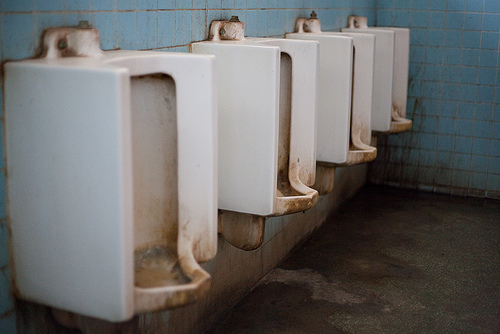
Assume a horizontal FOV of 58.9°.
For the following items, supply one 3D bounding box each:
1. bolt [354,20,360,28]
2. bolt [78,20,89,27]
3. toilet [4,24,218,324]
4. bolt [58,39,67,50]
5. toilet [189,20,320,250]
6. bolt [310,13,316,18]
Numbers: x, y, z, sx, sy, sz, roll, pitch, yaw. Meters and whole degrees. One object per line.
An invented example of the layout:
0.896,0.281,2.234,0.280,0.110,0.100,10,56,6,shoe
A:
0.911,-1.228,3.795,0.041,0.060,0.014,-6,1,-16,bolt
-0.593,-0.513,1.577,0.025,0.019,0.025,0,8,8,bolt
-0.421,-0.031,2.071,0.932,1.472,0.934,3,7,19,toilet
-0.644,-0.420,1.516,0.029,0.031,0.009,-3,1,-31,bolt
0.066,-0.162,2.255,0.558,1.114,0.670,4,9,17,toilet
0.427,-1.024,2.987,0.019,0.028,0.010,-2,12,-12,bolt
